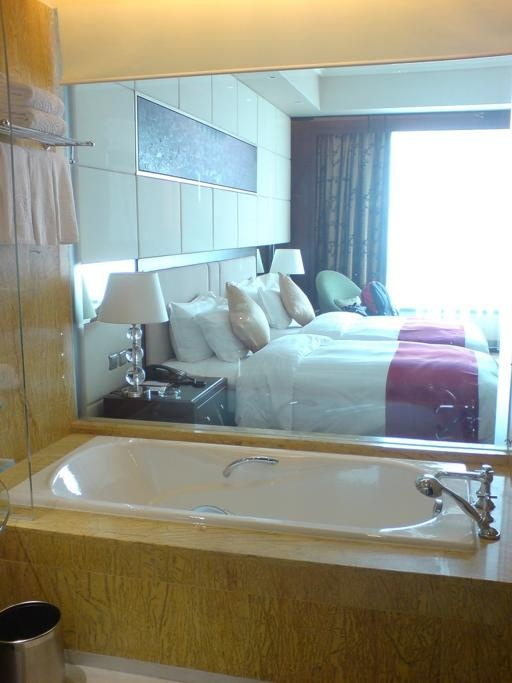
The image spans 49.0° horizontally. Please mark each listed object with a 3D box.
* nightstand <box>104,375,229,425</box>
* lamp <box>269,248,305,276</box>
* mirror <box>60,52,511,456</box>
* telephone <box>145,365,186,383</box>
[{"bbox_3d":[-0.366,0.272,2.508,0.437,0.229,0.275,-1,0,7],"label":"nightstand"},{"bbox_3d":[0.137,-0.343,2.405,0.119,0.114,0.116,-12,21,-31],"label":"lamp"},{"bbox_3d":[0.167,-0.400,2.283,1.634,1.483,0.510,3,33,19],"label":"mirror"},{"bbox_3d":[-0.410,0.143,2.504,0.223,0.064,0.099,2,-11,5],"label":"telephone"}]
